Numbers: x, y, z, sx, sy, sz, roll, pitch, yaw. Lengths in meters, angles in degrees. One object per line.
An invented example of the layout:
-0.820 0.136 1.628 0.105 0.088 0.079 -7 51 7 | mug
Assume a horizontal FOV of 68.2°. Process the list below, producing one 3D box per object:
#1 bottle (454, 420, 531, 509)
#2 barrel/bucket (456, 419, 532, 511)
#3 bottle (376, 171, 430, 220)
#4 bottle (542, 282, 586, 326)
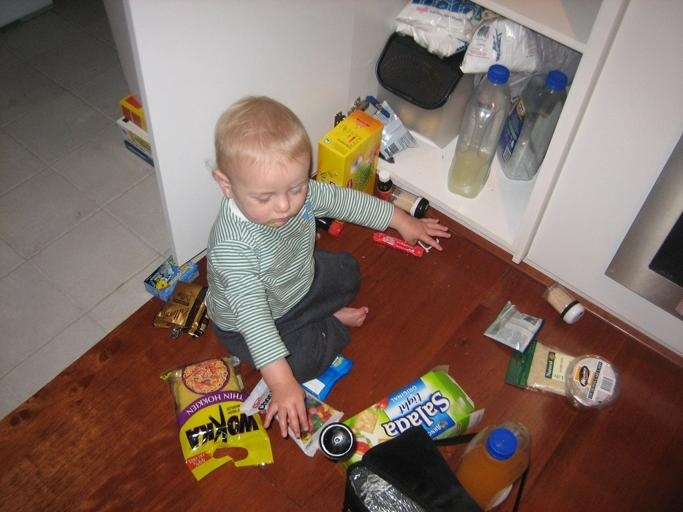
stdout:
0.341 0.476 1.132 0.084 0.151 0.141 31 53 21 | bottle
0.343 0.478 1.135 0.084 0.156 0.144 30 53 21 | barrel/bucket
0.195 -0.188 1.565 0.058 0.063 0.141 -16 41 -40 | bottle
0.639 0.134 1.458 0.056 0.044 0.114 -24 57 -17 | bottle
